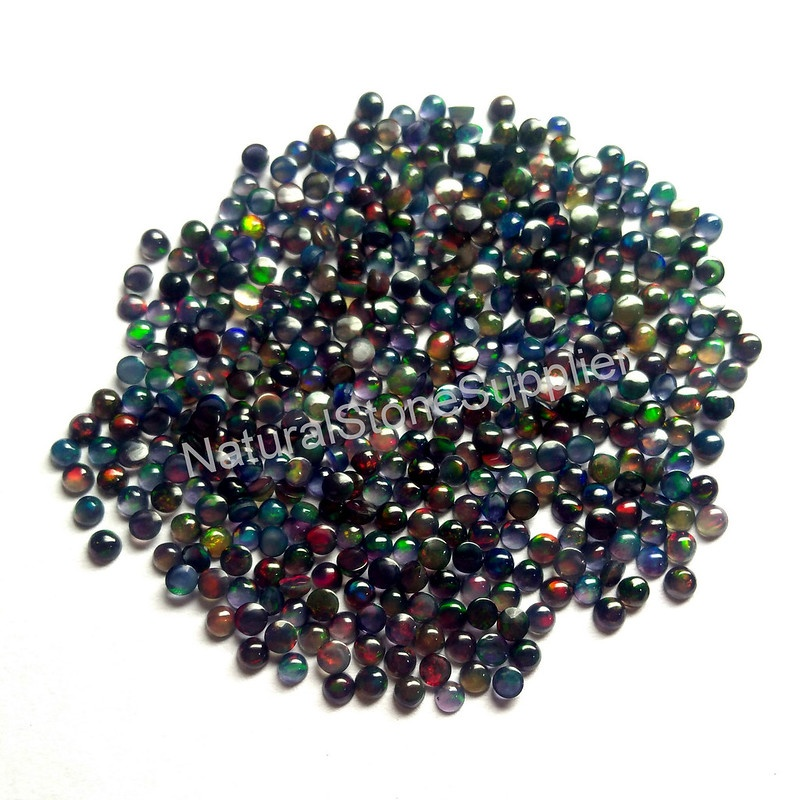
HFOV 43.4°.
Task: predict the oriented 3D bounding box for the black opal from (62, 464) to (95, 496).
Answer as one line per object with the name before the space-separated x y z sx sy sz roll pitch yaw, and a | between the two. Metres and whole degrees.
black opal | -0.654 0.161 2.035 0.075 0.036 0.057 4 -96 -7

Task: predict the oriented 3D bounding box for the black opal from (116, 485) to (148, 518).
black opal | -0.538 0.202 2.013 0.074 0.036 0.056 7 -98 -6

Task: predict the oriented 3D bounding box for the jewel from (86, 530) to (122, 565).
jewel | -0.586 0.290 1.990 0.075 0.042 0.065 -3 -93 -3

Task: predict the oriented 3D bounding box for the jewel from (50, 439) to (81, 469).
jewel | -0.679 0.110 2.046 0.072 0.034 0.054 2 -97 1

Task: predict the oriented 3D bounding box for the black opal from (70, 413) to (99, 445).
black opal | -0.644 0.060 2.056 0.072 0.034 0.055 -4 -101 0

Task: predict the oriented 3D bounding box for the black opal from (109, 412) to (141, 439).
black opal | -0.561 0.048 2.069 0.060 0.043 0.051 -26 -62 -19

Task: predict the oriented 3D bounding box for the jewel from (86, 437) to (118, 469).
jewel | -0.603 0.104 2.037 0.071 0.033 0.053 -2 -96 -1

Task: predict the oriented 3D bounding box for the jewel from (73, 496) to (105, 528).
jewel | -0.624 0.224 2.012 0.066 0.036 0.057 0 -105 -3

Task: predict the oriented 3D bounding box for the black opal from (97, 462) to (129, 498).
black opal | -0.582 0.162 2.029 0.072 0.033 0.053 -3 -101 -12
